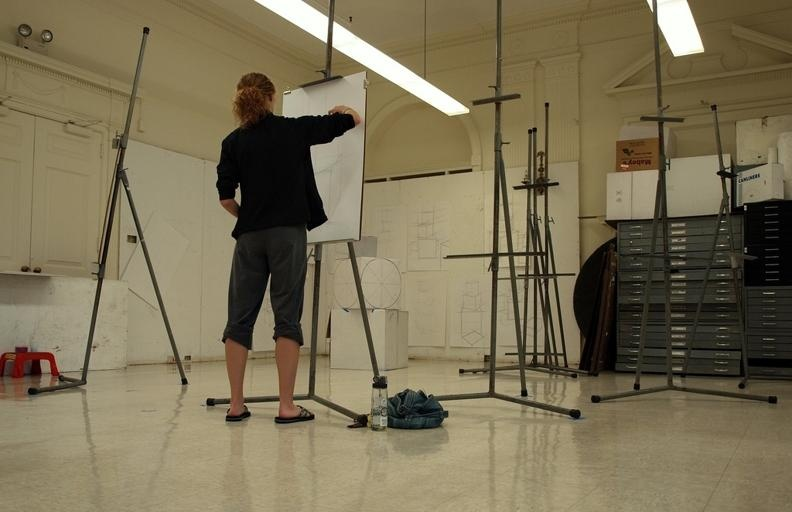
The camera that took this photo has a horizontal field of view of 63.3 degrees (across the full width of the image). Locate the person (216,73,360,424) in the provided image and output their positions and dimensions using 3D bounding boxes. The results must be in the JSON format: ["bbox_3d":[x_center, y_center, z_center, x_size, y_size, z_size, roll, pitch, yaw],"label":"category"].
[{"bbox_3d":[-0.936,-0.086,4.834,0.928,2.631,0.305,1,2,10],"label":"person"}]

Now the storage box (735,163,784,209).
[{"bbox_3d":[4.285,-0.803,7.511,0.207,0.490,0.541,3,-3,-33],"label":"storage box"}]

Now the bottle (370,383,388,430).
[{"bbox_3d":[-0.122,1.048,4.616,0.129,0.379,0.241,1,2,-1],"label":"bottle"}]

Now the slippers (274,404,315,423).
[{"bbox_3d":[-0.759,1.167,4.800,0.283,0.093,0.117,1,-1,-32],"label":"slippers"}]

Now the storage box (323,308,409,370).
[{"bbox_3d":[-0.369,1.063,8.275,0.814,0.822,0.816,-2,-5,27],"label":"storage box"}]

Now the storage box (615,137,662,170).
[{"bbox_3d":[3.126,-1.292,8.320,0.515,0.438,0.172,0,-7,12],"label":"storage box"}]

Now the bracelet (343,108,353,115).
[{"bbox_3d":[-0.372,-1.108,4.917,0.058,0.026,0.064,3,6,-6],"label":"bracelet"}]

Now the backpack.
[{"bbox_3d":[0.112,1.134,4.727,0.388,0.158,0.350,0,1,19],"label":"backpack"}]
